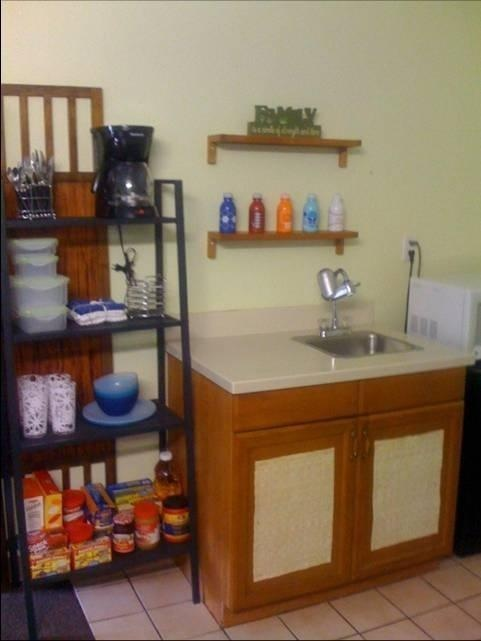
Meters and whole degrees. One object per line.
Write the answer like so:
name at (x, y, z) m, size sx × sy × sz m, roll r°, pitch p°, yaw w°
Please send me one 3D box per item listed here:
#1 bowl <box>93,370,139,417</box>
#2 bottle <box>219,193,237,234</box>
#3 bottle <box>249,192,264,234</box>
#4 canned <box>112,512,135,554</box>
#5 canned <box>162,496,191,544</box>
bowl at (-0.404, 0.235, 1.748) m, size 0.136 × 0.116 × 0.207 m, roll 0°, pitch 5°, yaw -12°
bottle at (-0.056, -0.390, 1.985) m, size 0.063 × 0.146 × 0.085 m, roll 2°, pitch 5°, yaw 9°
bottle at (0.053, -0.403, 2.046) m, size 0.070 × 0.146 × 0.071 m, roll 1°, pitch 5°, yaw 0°
canned at (-0.365, 0.669, 1.729) m, size 0.090 × 0.151 × 0.094 m, roll 0°, pitch 7°, yaw -10°
canned at (-0.216, 0.658, 1.838) m, size 0.113 × 0.141 × 0.117 m, roll -2°, pitch 9°, yaw -16°
